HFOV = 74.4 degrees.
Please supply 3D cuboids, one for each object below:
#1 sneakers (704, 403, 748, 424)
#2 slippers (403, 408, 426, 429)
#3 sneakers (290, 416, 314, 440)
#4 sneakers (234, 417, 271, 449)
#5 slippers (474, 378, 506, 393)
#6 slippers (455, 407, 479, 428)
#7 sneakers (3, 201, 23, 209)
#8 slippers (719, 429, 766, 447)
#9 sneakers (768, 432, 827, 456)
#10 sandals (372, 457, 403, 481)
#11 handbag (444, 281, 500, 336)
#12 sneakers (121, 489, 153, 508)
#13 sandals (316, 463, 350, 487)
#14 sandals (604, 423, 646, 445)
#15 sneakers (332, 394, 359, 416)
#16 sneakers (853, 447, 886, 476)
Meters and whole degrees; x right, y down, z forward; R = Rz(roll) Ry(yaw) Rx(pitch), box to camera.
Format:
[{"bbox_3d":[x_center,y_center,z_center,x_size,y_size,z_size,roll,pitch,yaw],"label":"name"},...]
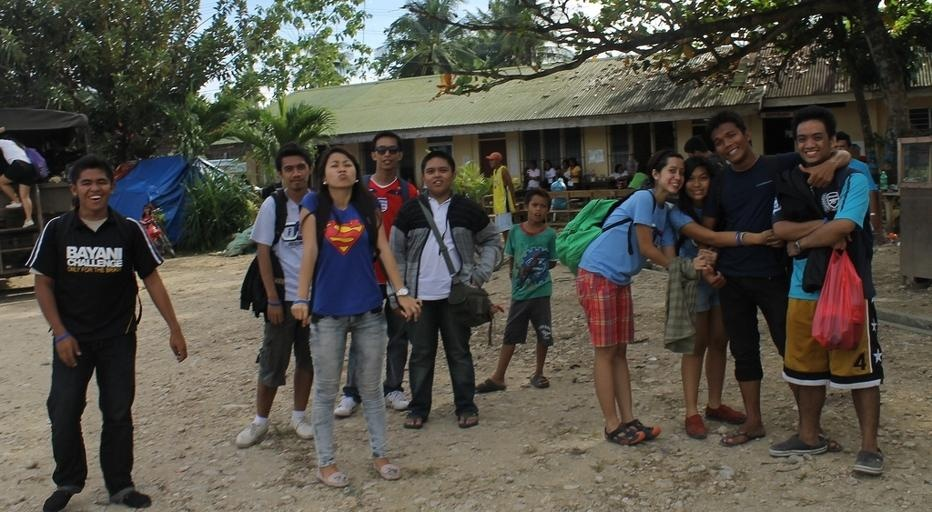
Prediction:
[{"bbox_3d":[2.747,1.678,6.566,0.366,0.129,0.178,-1,4,22],"label":"sneakers"},{"bbox_3d":[-0.575,1.833,6.848,0.139,0.117,0.309,2,-13,17],"label":"slippers"},{"bbox_3d":[-1.812,1.921,6.906,0.175,0.151,0.422,-5,2,-33],"label":"sneakers"},{"bbox_3d":[-2.334,1.957,6.867,0.217,0.177,0.425,29,43,26],"label":"sneakers"},{"bbox_3d":[0.288,1.616,7.614,0.369,0.123,0.153,2,-3,-1],"label":"slippers"},{"bbox_3d":[0.010,1.791,6.808,0.214,0.122,0.374,-2,-6,3],"label":"slippers"},{"bbox_3d":[-9.741,-1.092,13.295,0.410,0.147,0.127,0,11,5],"label":"sneakers"},{"bbox_3d":[2.780,1.833,6.228,0.418,0.091,0.165,-2,2,-12],"label":"slippers"},{"bbox_3d":[3.212,1.852,6.031,0.609,0.189,0.206,1,-11,3],"label":"sneakers"},{"bbox_3d":[-0.767,2.110,6.088,0.171,0.088,0.294,-4,4,-36],"label":"sandals"},{"bbox_3d":[0.067,0.487,6.837,0.355,0.510,0.582,-3,-1,43],"label":"handbag"},{"bbox_3d":[-3.234,2.397,6.076,0.291,0.108,0.154,1,15,30],"label":"sneakers"},{"bbox_3d":[-1.317,2.167,6.067,0.181,0.111,0.316,-1,-1,-40],"label":"sandals"},{"bbox_3d":[1.618,1.824,6.275,0.352,0.119,0.179,-1,4,36],"label":"sandals"},{"bbox_3d":[-1.417,1.768,7.188,0.142,0.129,0.328,-1,-9,8],"label":"sneakers"},{"bbox_3d":[3.752,1.899,5.693,0.387,0.238,0.150,-7,10,-20],"label":"sneakers"}]
